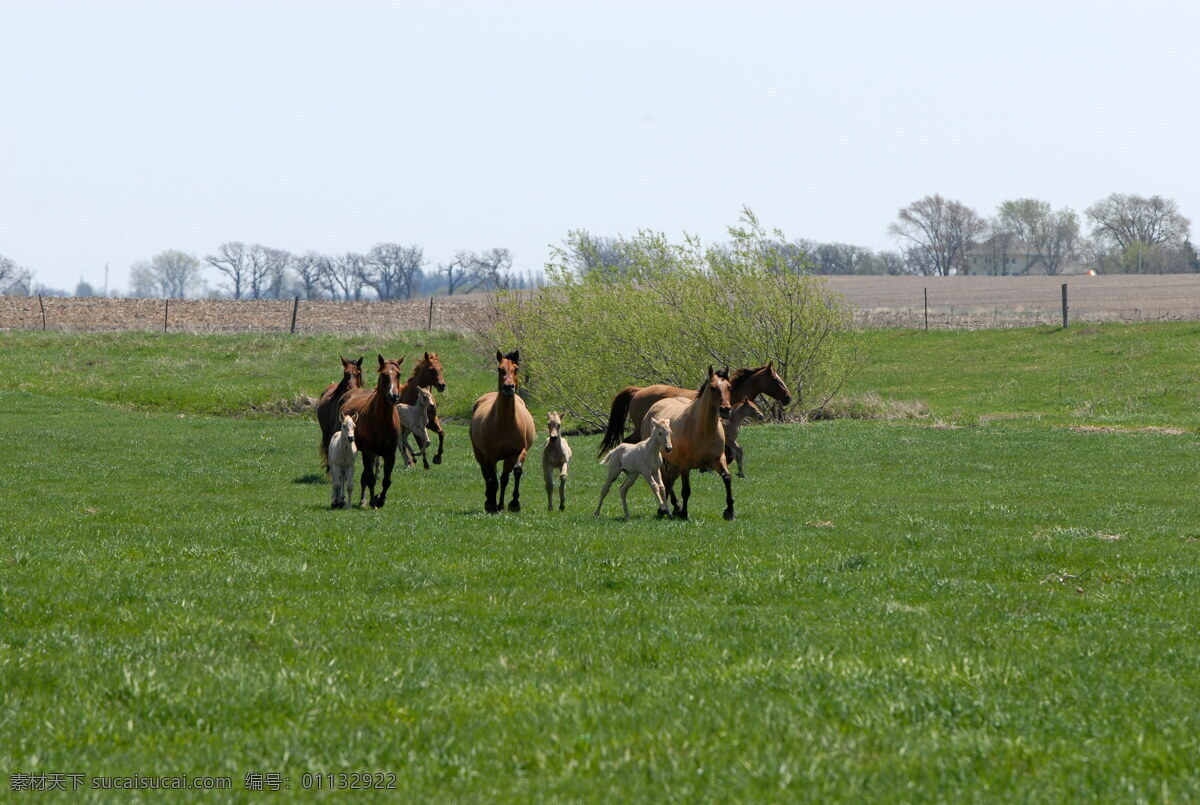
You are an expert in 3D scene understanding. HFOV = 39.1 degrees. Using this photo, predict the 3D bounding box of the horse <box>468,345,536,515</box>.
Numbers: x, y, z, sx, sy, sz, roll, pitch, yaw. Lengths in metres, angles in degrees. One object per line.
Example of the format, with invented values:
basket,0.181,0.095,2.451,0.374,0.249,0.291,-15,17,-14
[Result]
horse,-2.551,0.750,43.254,1.431,3.972,2.012,-1,2,-8
